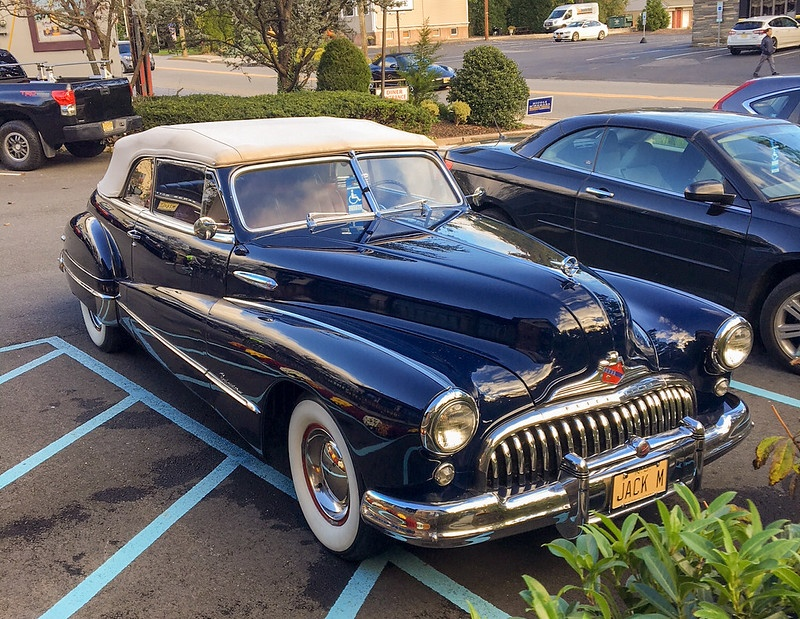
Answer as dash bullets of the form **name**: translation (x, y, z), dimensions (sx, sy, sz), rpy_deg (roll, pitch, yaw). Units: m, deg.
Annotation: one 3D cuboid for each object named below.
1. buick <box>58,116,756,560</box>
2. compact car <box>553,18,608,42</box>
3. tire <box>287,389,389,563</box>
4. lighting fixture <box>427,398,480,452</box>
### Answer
- **buick**: translation (-0.589, -0.123, 4.331), dimensions (2.405, 1.563, 4.896), rpy_deg (-15, 26, -40)
- **compact car**: translation (16.132, -24.901, 52.970), dimensions (5.081, 1.708, 2.222), rpy_deg (-15, 26, -28)
- **tire**: translation (-0.315, 0.887, 3.160), dimensions (0.255, 0.863, 0.783), rpy_deg (-1, 19, -38)
- **lighting fixture**: translation (0.247, 0.539, 2.790), dimensions (0.230, 0.264, 0.087), rpy_deg (-4, 16, -25)
